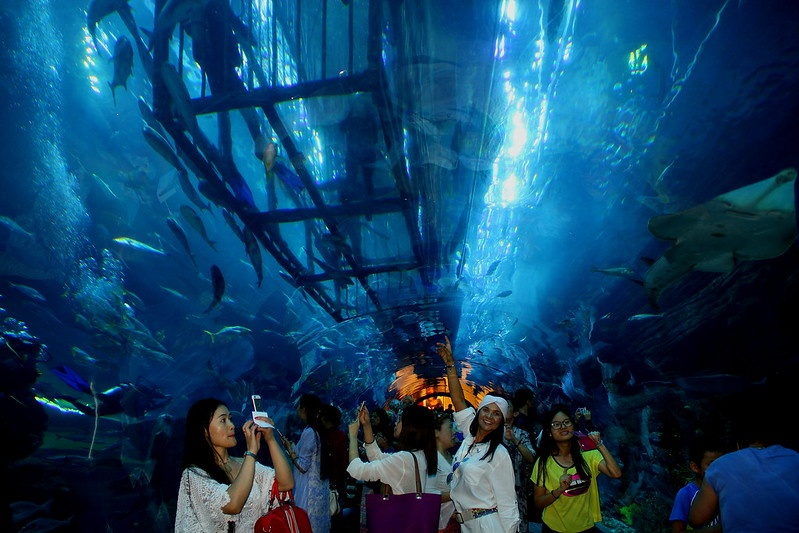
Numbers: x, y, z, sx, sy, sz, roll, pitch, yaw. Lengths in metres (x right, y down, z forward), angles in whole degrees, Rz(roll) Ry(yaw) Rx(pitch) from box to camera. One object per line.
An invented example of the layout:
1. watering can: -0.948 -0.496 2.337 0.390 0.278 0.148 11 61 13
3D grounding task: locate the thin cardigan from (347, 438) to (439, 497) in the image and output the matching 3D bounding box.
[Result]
1. thin cardigan: -0.126 3.601 8.028 1.192 1.166 0.966 -9 -20 6

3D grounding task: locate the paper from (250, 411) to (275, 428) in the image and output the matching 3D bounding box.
1. paper: -2.053 2.347 6.820 0.319 0.259 0.198 7 -27 -18

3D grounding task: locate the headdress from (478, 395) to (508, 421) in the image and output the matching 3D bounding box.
1. headdress: 1.623 2.430 7.797 0.426 0.309 0.438 -2 -1 -2
